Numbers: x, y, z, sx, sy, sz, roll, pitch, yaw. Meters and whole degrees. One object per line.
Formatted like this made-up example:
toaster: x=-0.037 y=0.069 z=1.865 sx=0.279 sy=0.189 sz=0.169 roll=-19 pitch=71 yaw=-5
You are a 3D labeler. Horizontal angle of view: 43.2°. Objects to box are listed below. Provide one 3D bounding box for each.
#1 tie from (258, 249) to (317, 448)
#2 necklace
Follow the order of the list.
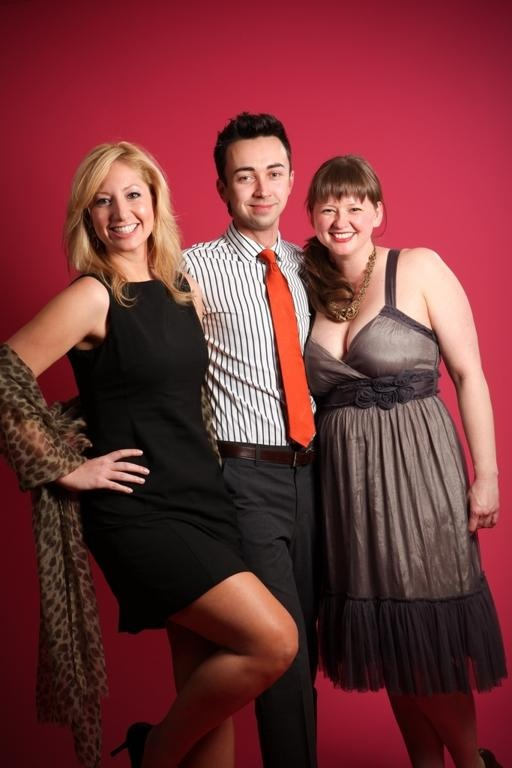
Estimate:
tie: x=0.091 y=-0.081 z=1.771 sx=0.093 sy=0.648 sz=0.057 roll=-12 pitch=-5 yaw=7
necklace: x=0.281 y=-0.290 z=1.866 sx=0.122 sy=0.197 sz=0.040 roll=0 pitch=-29 yaw=37
